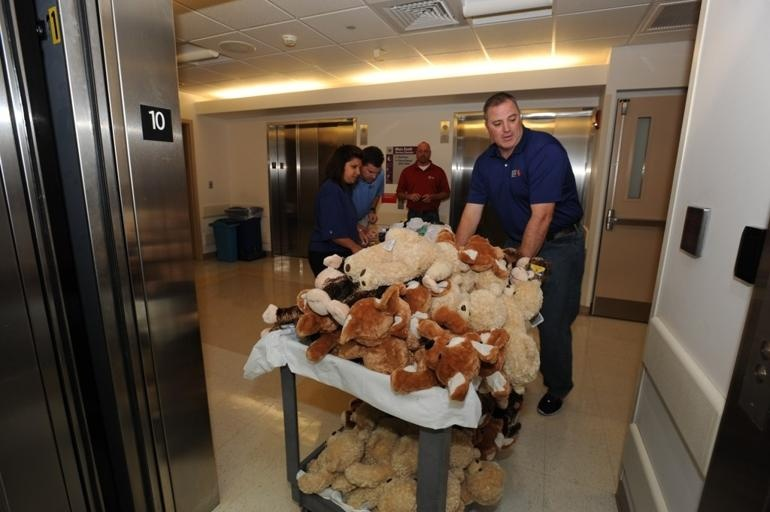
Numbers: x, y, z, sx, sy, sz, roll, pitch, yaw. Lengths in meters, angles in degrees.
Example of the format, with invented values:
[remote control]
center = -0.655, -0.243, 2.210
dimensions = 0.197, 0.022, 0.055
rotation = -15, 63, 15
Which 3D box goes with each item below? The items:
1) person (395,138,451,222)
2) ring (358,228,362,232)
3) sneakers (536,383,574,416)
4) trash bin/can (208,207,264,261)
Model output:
[person]
center = 0.449, -0.844, 5.679
dimensions = 0.617, 0.922, 0.517
rotation = 1, 14, 2
[ring]
center = -0.197, -0.206, 3.889
dimensions = 0.029, 0.007, 0.028
rotation = 1, 24, 0
[sneakers]
center = 1.166, 0.946, 3.340
dimensions = 0.124, 0.130, 0.329
rotation = 9, 18, 42
[trash bin/can]
center = -2.170, -0.351, 7.448
dimensions = 0.749, 0.975, 0.776
rotation = 10, 16, 30
